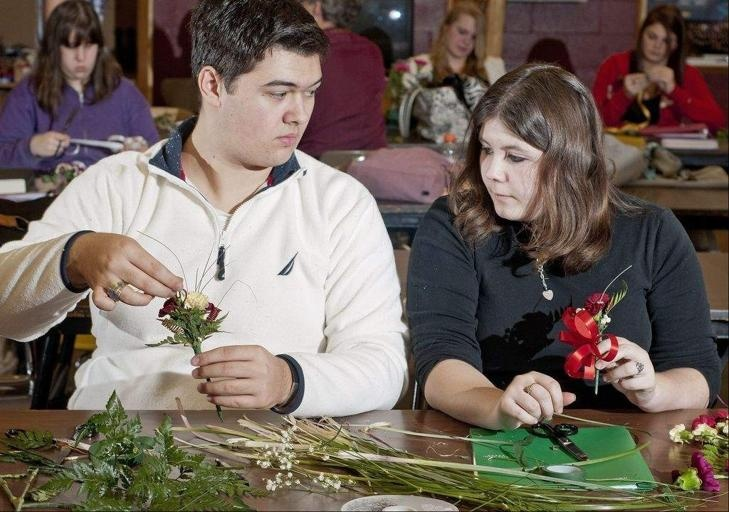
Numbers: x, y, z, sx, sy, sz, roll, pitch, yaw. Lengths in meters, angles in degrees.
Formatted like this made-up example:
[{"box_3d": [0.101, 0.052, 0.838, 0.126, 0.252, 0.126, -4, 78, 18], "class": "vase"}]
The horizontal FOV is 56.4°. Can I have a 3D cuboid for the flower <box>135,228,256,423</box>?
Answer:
[{"box_3d": [-0.406, 0.183, 1.630, 0.232, 0.415, 0.252, 21, 35, 23], "class": "flower"}]

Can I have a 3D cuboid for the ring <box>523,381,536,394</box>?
[{"box_3d": [0.349, 0.278, 1.432, 0.017, 0.024, 0.011, 10, -19, 25], "class": "ring"}]

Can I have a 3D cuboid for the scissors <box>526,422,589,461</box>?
[{"box_3d": [0.428, 0.381, 1.435, 0.084, 0.036, 0.160, -3, 10, -31], "class": "scissors"}]

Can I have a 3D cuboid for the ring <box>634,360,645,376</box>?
[{"box_3d": [0.613, 0.249, 1.510, 0.027, 0.026, 0.006, 6, -1, -30], "class": "ring"}]

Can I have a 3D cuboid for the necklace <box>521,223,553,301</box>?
[{"box_3d": [0.484, 0.019, 1.878, 0.067, 0.236, 0.027, -9, 18, 30], "class": "necklace"}]

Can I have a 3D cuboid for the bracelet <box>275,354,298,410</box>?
[{"box_3d": [-0.168, 0.291, 1.543, 0.029, 0.084, 0.096, 3, 33, -25], "class": "bracelet"}]

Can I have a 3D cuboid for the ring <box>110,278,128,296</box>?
[{"box_3d": [-0.537, 0.065, 1.487, 0.029, 0.038, 0.013, 45, 5, -5], "class": "ring"}]
